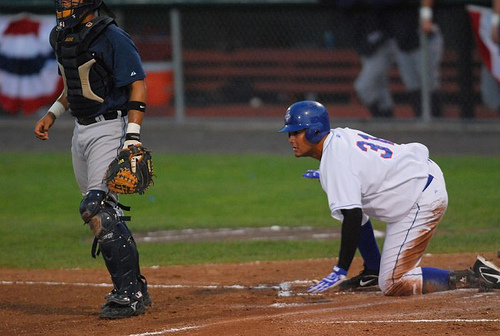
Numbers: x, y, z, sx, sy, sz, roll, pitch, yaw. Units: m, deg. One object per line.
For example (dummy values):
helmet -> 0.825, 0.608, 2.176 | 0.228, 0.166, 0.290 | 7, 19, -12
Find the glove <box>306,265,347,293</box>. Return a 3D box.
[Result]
glove -> 0.930, 1.355, 11.704 | 0.681, 0.290, 0.218 | -9, 17, -37

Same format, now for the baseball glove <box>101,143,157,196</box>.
baseball glove -> -1.439, 0.056, 11.518 | 0.380, 0.520, 0.720 | 0, 1, -10

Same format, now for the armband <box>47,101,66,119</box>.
armband -> -2.389, -0.716, 12.105 | 0.162, 0.155, 0.208 | 37, 5, 9

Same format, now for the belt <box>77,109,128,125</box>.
belt -> -1.760, -0.604, 11.618 | 0.575, 0.164, 0.168 | -3, 6, -13
